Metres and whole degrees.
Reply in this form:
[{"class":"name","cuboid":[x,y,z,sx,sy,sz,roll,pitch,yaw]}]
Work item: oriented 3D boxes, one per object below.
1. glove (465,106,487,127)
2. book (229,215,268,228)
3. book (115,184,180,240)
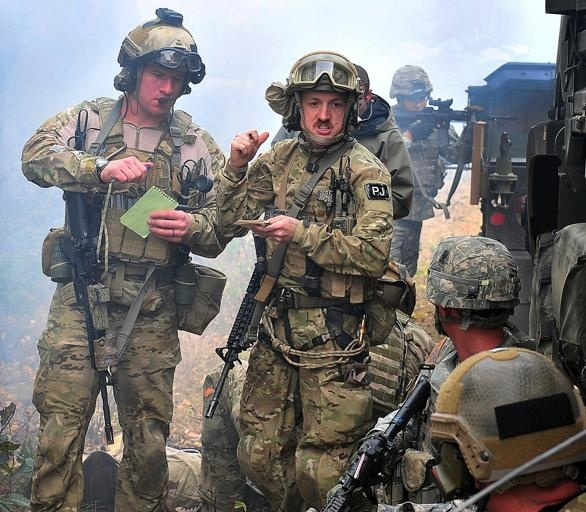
[{"class":"glove","cuboid":[2.675,-2.070,9.213,0.343,0.363,0.334,-1,7,6]},{"class":"book","cuboid":[-0.255,-0.188,3.785,0.181,0.064,0.287,-5,7,-37]},{"class":"book","cuboid":[-1.086,-0.347,4.714,0.317,0.415,0.097,38,7,-35]}]
